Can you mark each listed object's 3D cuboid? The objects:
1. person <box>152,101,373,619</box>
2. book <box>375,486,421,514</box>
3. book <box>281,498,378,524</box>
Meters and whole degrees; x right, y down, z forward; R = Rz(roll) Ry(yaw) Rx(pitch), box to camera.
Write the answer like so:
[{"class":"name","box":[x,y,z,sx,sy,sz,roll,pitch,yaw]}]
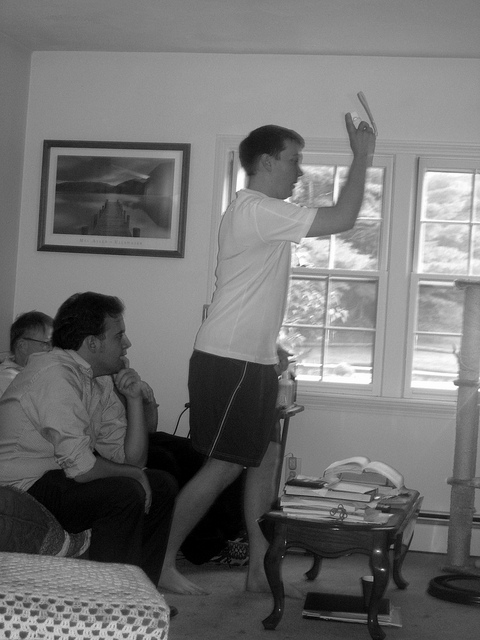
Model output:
[{"class":"person","box":[0.034,0.176,2.499,0.600,1.810,1.365,5,-9,-6]},{"class":"book","box":[0.620,0.694,2.417,0.100,0.065,0.585,0,-9,21]},{"class":"book","box":[0.295,0.637,2.062,0.316,0.067,0.148,3,-9,5]}]
